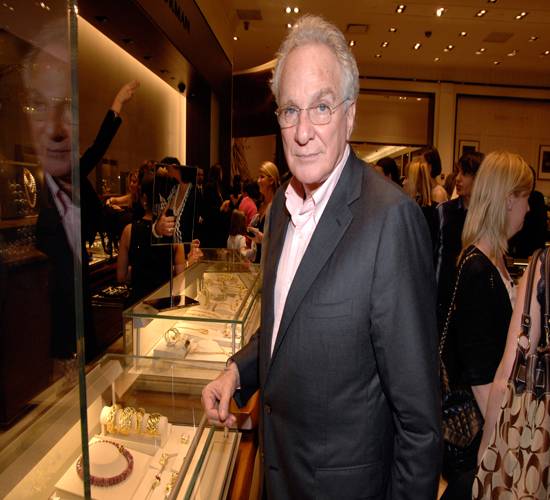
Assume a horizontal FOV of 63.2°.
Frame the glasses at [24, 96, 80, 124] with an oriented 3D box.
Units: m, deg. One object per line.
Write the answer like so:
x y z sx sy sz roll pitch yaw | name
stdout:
-0.368 -0.230 0.732 0.092 0.037 0.012 4 7 14 | glasses
